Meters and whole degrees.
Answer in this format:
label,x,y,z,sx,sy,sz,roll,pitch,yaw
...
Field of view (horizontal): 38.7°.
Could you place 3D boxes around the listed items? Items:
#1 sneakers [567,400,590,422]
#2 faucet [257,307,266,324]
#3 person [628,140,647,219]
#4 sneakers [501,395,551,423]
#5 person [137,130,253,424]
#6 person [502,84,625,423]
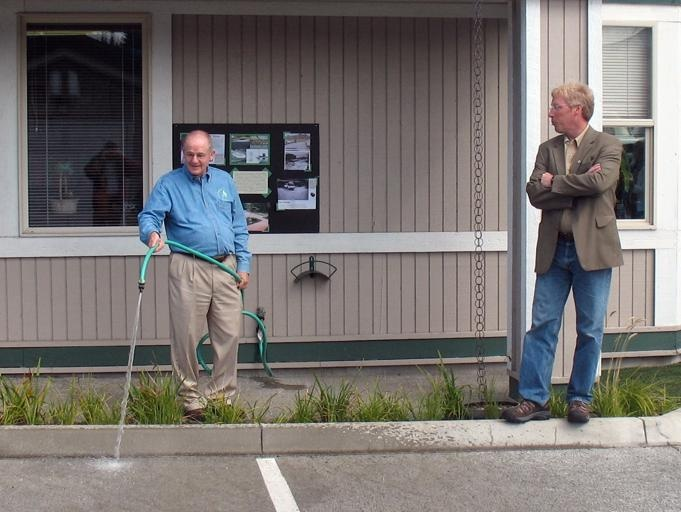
label,x,y,z,sx,sy,sz,roll,pitch,yaw
sneakers,1.882,1.222,7.642,0.173,0.174,0.117,0,9,9
faucet,-0.777,0.566,9.486,0.093,0.142,0.090,-3,9,-6
person,2.977,-0.765,9.726,0.183,0.764,0.132,0,8,11
sneakers,1.480,1.231,7.785,0.396,0.242,0.162,3,-4,-9
person,-1.178,0.268,8.037,0.888,2.015,0.632,-3,8,-9
person,1.812,-0.019,7.642,0.791,2.622,0.628,1,9,18
